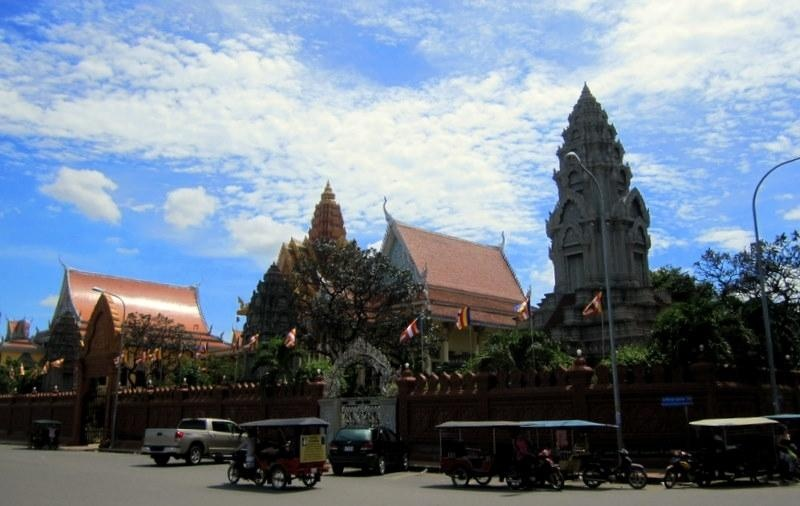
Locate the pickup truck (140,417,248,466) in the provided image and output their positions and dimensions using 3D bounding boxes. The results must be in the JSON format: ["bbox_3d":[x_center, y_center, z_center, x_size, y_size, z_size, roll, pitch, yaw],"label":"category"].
[{"bbox_3d":[-10.506,9.501,37.942,2.593,1.580,4.690,-9,-12,39],"label":"pickup truck"}]
